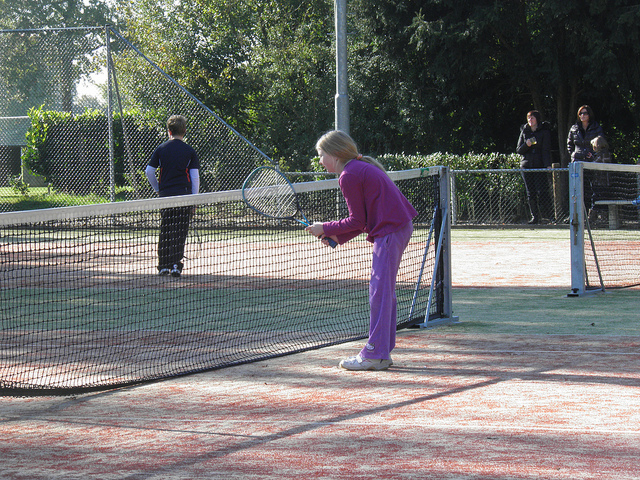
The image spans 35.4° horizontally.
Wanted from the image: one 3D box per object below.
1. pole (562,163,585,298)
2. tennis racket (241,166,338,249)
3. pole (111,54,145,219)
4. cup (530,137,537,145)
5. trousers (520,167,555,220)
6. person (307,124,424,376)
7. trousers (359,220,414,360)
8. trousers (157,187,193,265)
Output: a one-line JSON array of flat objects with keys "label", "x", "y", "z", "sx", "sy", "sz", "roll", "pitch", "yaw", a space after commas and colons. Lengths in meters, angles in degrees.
[{"label": "pole", "x": 2.985, "y": -0.110, "z": 11.702, "sx": 0.249, "sy": 1.574, "sz": 0.448, "roll": 2, "pitch": 10, "yaw": 13}, {"label": "tennis racket", "x": -0.398, "y": -0.453, "z": 9.447, "sx": 0.484, "sy": 0.101, "sz": 1.218, "roll": -31, "pitch": 56, "yaw": -27}, {"label": "pole", "x": -3.527, "y": -1.985, "z": 18.118, "sx": 0.200, "sy": 2.418, "sz": 0.651, "roll": -9, "pitch": 13, "yaw": -42}, {"label": "cup", "x": 4.264, "y": -1.976, "z": 20.054, "sx": 0.088, "sy": 0.142, "sz": 0.357, "roll": 4, "pitch": 10, "yaw": 21}, {"label": "trousers", "x": 4.477, "y": -0.938, "z": 20.637, "sx": 0.610, "sy": 1.073, "sz": 0.443, "roll": 8, "pitch": 12, "yaw": 40}, {"label": "person", "x": 0.394, "y": 0.098, "z": 8.818, "sx": 0.858, "sy": 2.071, "sz": 0.535, "roll": 1, "pitch": 9, "yaw": 3}, {"label": "trousers", "x": 0.568, "y": 0.428, "z": 8.867, "sx": 0.494, "sy": 1.205, "sz": 0.258, "roll": -8, "pitch": 12, "yaw": -39}, {"label": "trousers", "x": -1.711, "y": -0.175, "z": 11.825, "sx": 0.295, "sy": 0.371, "sz": 0.933, "roll": -8, "pitch": -18, "yaw": -14}]
